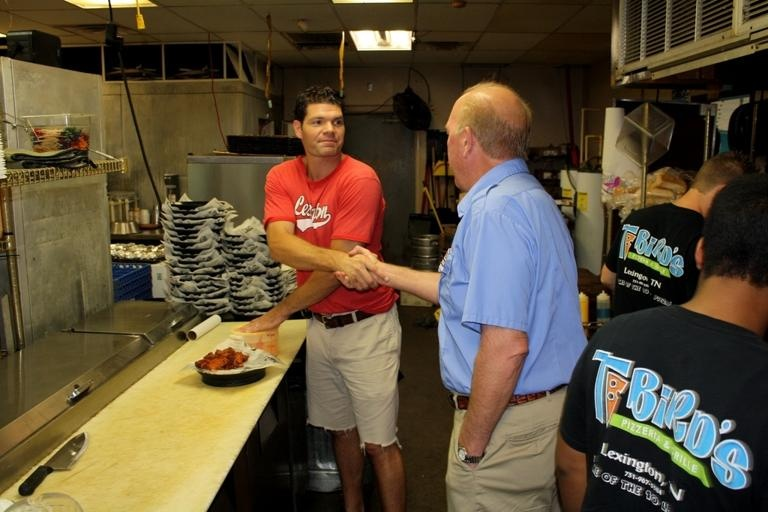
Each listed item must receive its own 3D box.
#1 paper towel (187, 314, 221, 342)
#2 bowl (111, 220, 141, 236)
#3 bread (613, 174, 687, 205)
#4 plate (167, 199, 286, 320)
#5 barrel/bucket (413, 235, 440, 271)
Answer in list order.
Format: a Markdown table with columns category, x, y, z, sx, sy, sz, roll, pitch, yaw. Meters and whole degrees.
| category | x | y | z | sx | sy | sz | roll | pitch | yaw |
| --- | --- | --- | --- | --- | --- | --- | --- | --- | --- |
| paper towel | -0.954 | 0.389 | 3.134 | 0.048 | 0.053 | 0.238 | -20 | 0 | 14 |
| bowl | -2.812 | -0.298 | 6.450 | 0.289 | 0.144 | 0.226 | -8 | 15 | -29 |
| bread | 1.949 | -0.401 | 4.364 | 0.314 | 0.142 | 0.425 | -20 | 2 | -19 |
| plate | -0.900 | 0.006 | 3.518 | 0.659 | 0.537 | 0.649 | 0 | 4 | -1 |
| barrel/bucket | 0.513 | -0.034 | 7.630 | 0.437 | 0.407 | 0.411 | 0 | 2 | 0 |
